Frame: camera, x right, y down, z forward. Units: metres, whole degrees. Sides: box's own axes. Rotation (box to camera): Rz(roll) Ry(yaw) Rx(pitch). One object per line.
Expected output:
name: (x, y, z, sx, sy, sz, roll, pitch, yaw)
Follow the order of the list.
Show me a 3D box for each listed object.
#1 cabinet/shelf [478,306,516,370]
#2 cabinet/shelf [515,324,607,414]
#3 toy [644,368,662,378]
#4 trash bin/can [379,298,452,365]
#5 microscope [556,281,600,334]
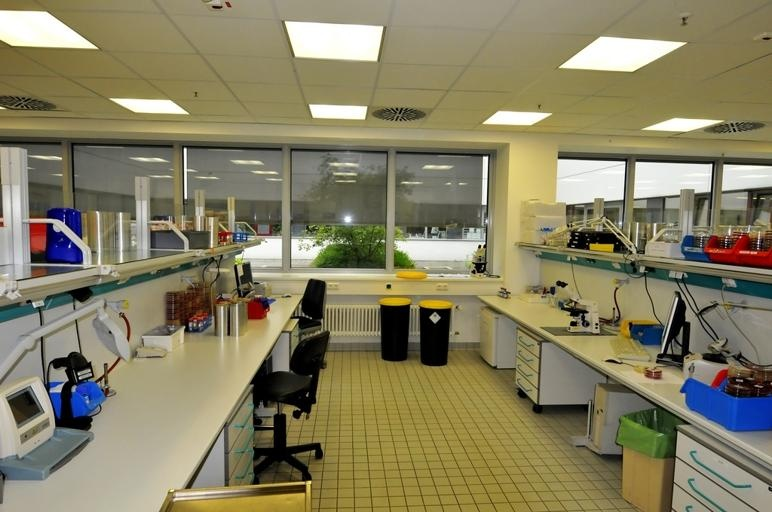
cabinet/shelf: (1.352, 0.995, 6.492, 0.409, 0.595, 0.563, 2, 5, 2)
cabinet/shelf: (1.762, 1.118, 5.530, 0.705, 0.804, 0.733, 1, 4, -4)
toy: (2.078, 0.899, 4.110, 0.127, 0.050, 0.118, 7, 15, 24)
trash bin/can: (0.342, 0.939, 6.660, 0.888, 0.769, 0.358, 4, 16, 12)
microscope: (1.909, 0.498, 5.200, 0.422, 0.491, 0.270, -2, -7, 31)
